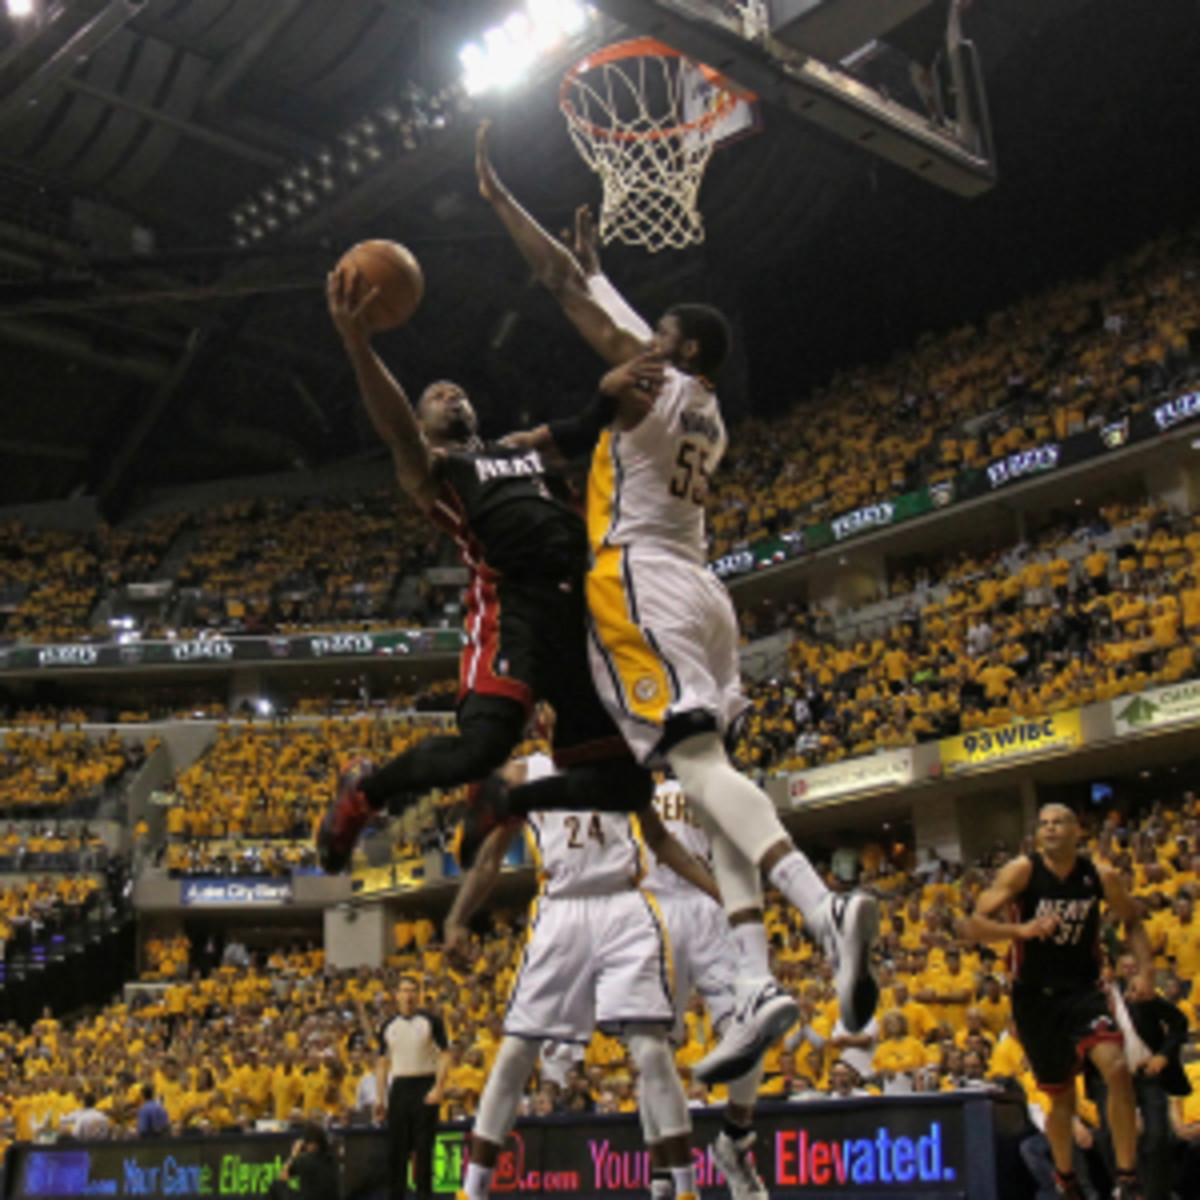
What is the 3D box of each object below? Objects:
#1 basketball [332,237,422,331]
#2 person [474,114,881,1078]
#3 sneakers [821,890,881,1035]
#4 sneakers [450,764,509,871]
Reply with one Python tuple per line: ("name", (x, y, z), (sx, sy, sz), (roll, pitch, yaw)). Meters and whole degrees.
("basketball", (-0.867, -1.162, 4.524), (0.359, 0.395, 0.346), (11, 17, 31))
("person", (0.166, -0.049, 4.387), (1.187, 3.057, 1.019), (-1, -12, -9))
("sneakers", (0.739, 1.067, 3.488), (0.152, 0.430, 0.185), (2, -6, -26))
("sneakers", (-0.409, 0.733, 4.417), (0.158, 0.199, 0.455), (-26, -10, -4))
